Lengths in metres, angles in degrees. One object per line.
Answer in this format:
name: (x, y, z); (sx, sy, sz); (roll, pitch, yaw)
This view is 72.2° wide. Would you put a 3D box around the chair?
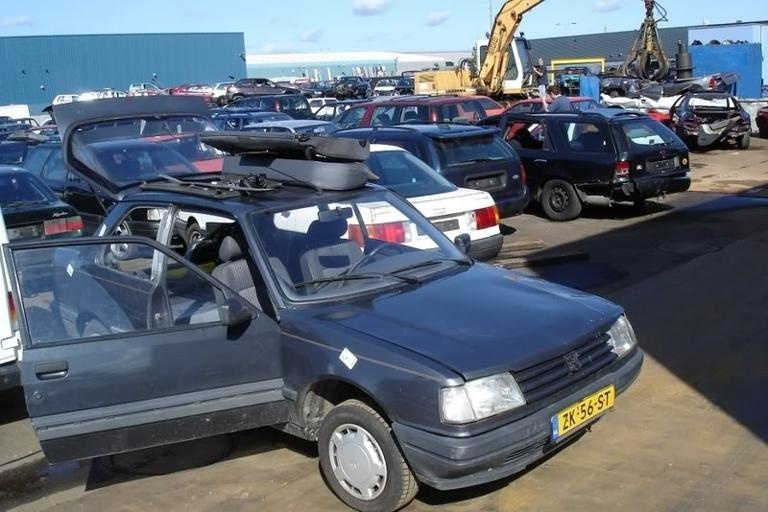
chair: (-0.820, -0.026, 4.359); (1.222, 0.465, 0.684); (19, 35, 31)
